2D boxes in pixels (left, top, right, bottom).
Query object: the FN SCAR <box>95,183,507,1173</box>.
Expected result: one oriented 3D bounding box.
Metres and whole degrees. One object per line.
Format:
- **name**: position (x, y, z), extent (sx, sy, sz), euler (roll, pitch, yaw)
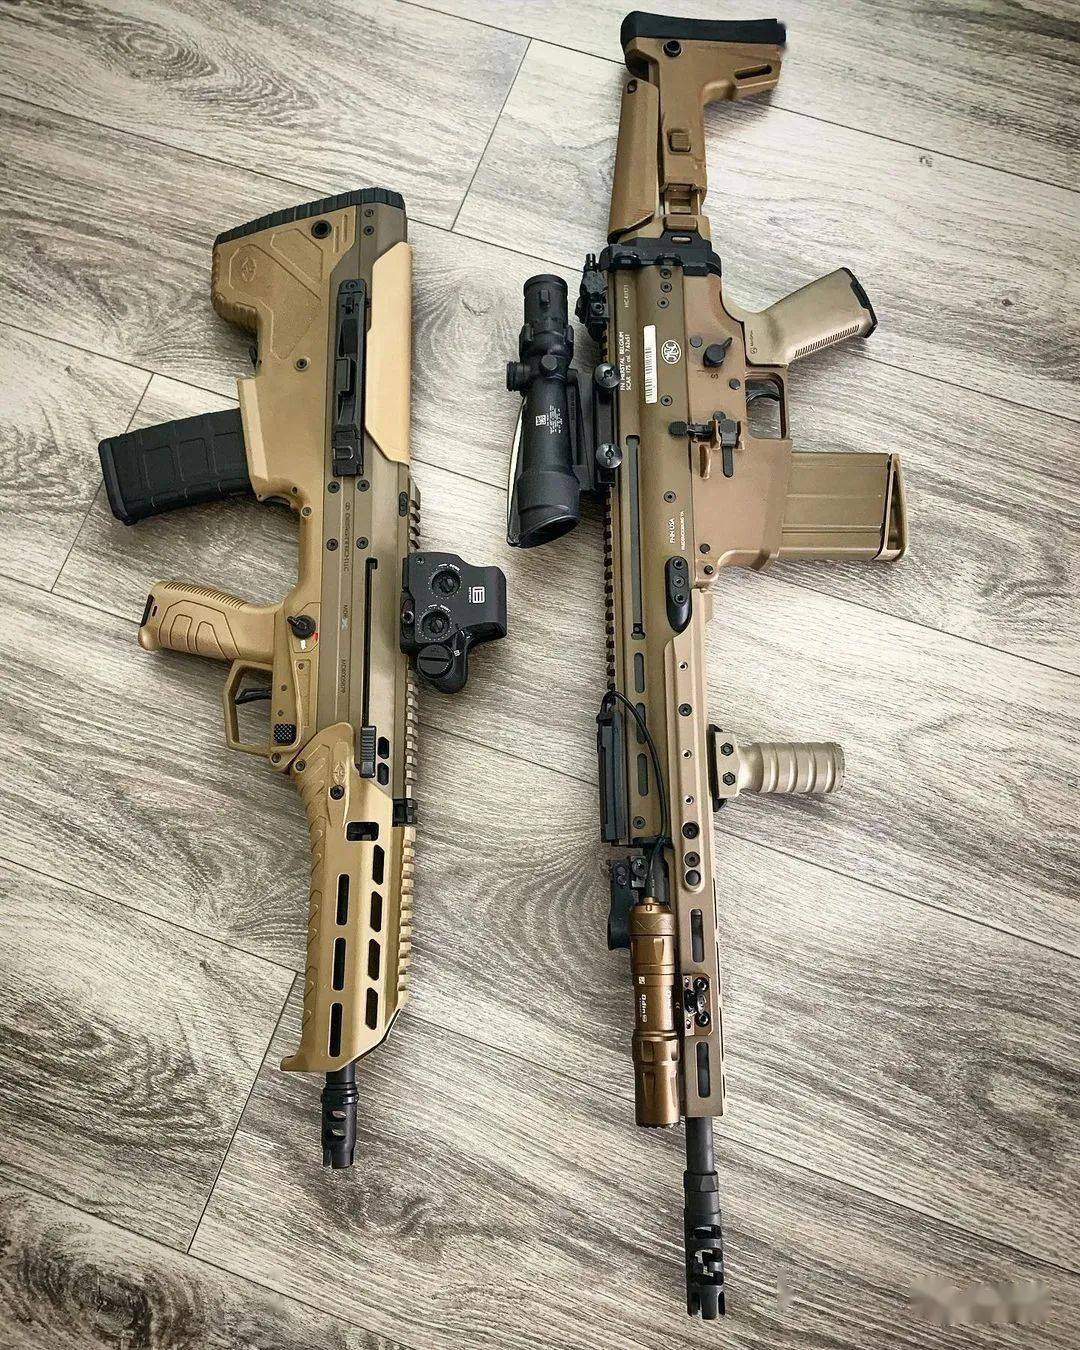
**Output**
- **FN SCAR**: position (-0.401, -0.158, 3.750), extent (1.373, 2.464, 0.662), euler (-1, -6, 12)
